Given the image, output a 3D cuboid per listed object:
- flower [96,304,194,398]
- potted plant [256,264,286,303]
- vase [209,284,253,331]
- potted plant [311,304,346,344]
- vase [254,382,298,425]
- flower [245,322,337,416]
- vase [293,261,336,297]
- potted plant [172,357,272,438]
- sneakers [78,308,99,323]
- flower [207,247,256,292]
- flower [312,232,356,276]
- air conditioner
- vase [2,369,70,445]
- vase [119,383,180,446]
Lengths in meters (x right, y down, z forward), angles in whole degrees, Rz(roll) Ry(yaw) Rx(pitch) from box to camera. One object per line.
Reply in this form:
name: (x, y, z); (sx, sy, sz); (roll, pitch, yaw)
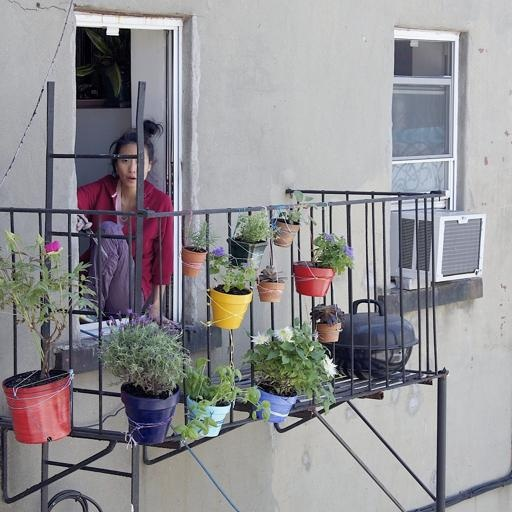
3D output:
flower: (-0.523, 0.453, 4.643); (0.351, 0.282, 0.347); (31, -1, -38)
potted plant: (0.077, 0.151, 5.248); (0.134, 0.204, 0.175); (2, -3, 0)
vase: (-0.126, 0.263, 5.005); (0.186, 0.181, 0.189); (6, -3, -36)
potted plant: (0.395, 0.373, 5.453); (0.162, 0.195, 0.184); (1, -4, -4)
vase: (0.107, 0.735, 5.110); (0.164, 0.148, 0.176); (23, -8, -19)
flower: (0.206, 0.571, 5.176); (0.394, 0.351, 0.429); (11, -12, 35)
vase: (0.317, 0.118, 5.322); (0.172, 0.146, 0.169); (10, -3, -43)
potted plant: (-0.182, 0.731, 4.973); (0.455, 0.358, 0.324); (28, -16, -35)
sneakers: (-0.932, 0.350, 5.563); (0.115, 0.080, 0.164); (2, -5, -7)
flower: (-0.118, 0.121, 5.062); (0.206, 0.192, 0.243); (-10, 34, -24)
flower: (0.406, -0.013, 5.352); (0.217, 0.199, 0.245); (2, 4, 4)
air conditioner: (1.348, -0.068, 7.160); (0.578, 0.517, 0.326); (-4, 11, -36)
vase: (-0.997, 0.688, 4.599); (0.302, 0.313, 0.264); (2, 4, 0)
vase: (-0.498, 0.730, 4.607); (0.229, 0.257, 0.260); (2, -2, -3)
